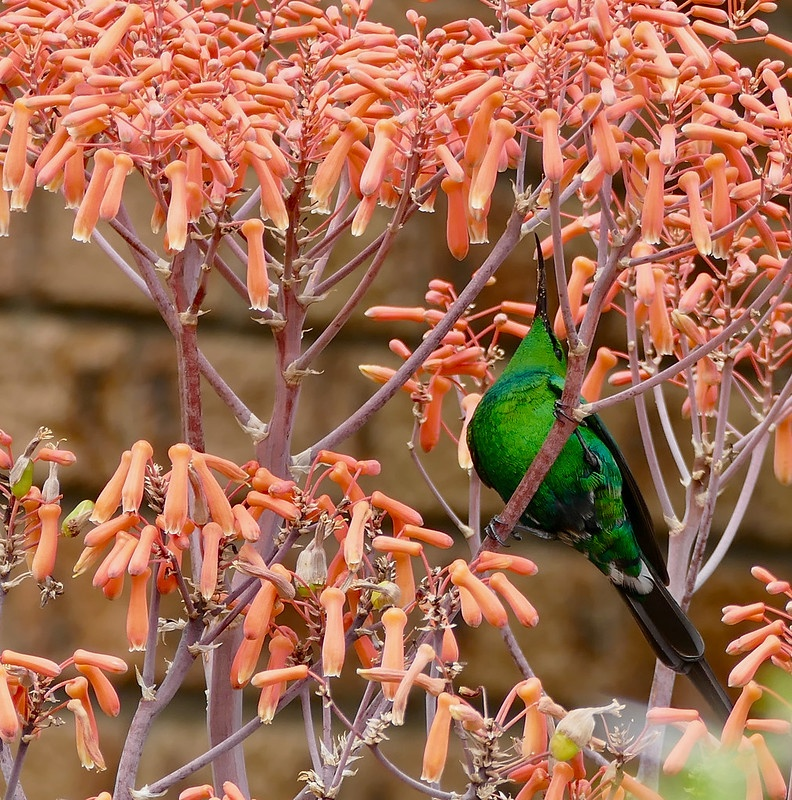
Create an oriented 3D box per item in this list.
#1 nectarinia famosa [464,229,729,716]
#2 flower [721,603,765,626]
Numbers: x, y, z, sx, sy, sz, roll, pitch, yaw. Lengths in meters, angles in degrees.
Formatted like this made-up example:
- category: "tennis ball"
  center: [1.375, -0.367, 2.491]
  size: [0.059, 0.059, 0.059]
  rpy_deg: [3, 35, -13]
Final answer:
- category: "nectarinia famosa"
  center: [0.234, 0.125, 1.923]
  size: [0.122, 0.203, 0.415]
  rpy_deg: [-37, 80, -32]
- category: "flower"
  center: [0.308, 0.182, 1.682]
  size: [0.032, 0.009, 0.032]
  rpy_deg: [-10, 14, -22]
